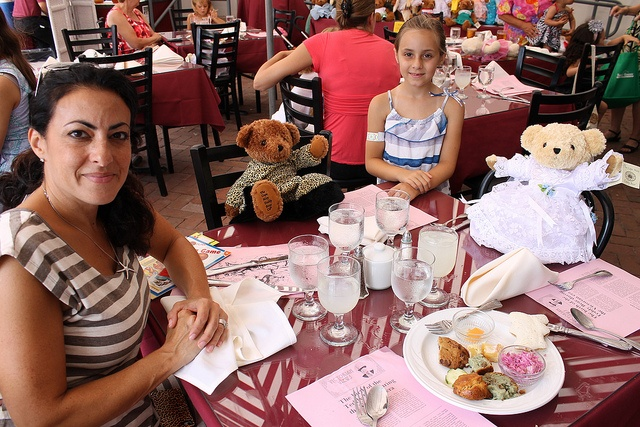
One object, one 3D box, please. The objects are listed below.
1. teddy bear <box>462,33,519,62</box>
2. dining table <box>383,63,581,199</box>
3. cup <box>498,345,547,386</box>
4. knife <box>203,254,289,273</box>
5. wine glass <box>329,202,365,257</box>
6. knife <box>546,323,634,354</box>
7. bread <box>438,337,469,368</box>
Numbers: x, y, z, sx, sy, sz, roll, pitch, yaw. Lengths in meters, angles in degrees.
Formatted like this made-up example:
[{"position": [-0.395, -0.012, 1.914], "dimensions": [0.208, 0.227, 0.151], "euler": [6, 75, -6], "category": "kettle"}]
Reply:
[{"position": [1.644, -1.576, 3.892], "dimensions": [0.385, 0.172, 0.297], "euler": [-2, 16, -3], "category": "teddy bear"}, {"position": [1.104, -0.689, 3.224], "dimensions": [1.230, 0.602, 1.211], "euler": [-25, 43, -23], "category": "dining table"}, {"position": [0.563, 0.422, 1.137], "dimensions": [0.116, 0.058, 0.102], "euler": [-15, 34, -22], "category": "cup"}, {"position": [-0.271, 0.188, 1.519], "dimensions": [0.258, 0.040, 0.020], "euler": [-9, 72, -18], "category": "knife"}, {"position": [0.095, 0.055, 1.454], "dimensions": [0.132, 0.215, 0.135], "euler": [-5, 34, -6], "category": "wine glass"}, {"position": [0.821, 0.384, 1.237], "dimensions": [0.284, 0.014, 0.039], "euler": [9, 48, 30], "category": "knife"}, {"position": [0.382, 0.403, 1.168], "dimensions": [0.075, 0.019, 0.070], "euler": [-18, 56, -24], "category": "bread"}]
